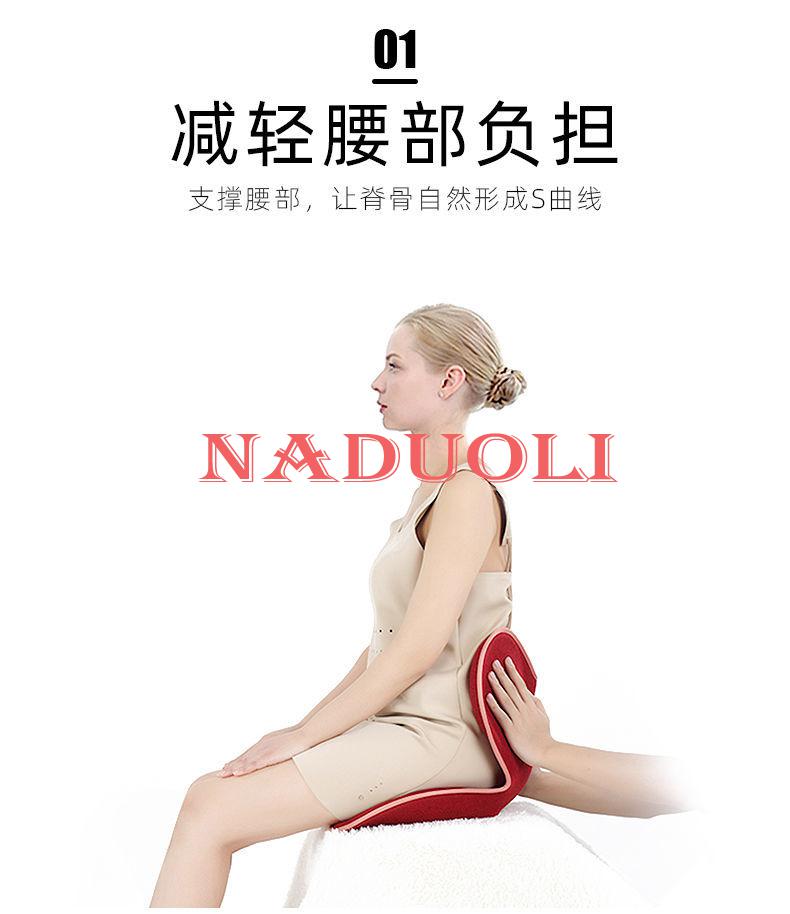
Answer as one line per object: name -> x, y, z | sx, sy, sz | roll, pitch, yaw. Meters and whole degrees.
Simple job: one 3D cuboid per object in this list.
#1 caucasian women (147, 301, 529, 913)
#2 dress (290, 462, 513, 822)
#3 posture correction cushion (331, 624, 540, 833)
caucasian women -> -0.161, 0.370, 2.431 | 0.737, 1.543, 0.794 | -2, 3, -20
dress -> -0.003, 0.437, 2.410 | 0.516, 0.887, 0.523 | 0, 1, -21
posture correction cushion -> 0.032, 0.669, 2.439 | 0.576, 0.497, 0.535 | 3, -1, -15
